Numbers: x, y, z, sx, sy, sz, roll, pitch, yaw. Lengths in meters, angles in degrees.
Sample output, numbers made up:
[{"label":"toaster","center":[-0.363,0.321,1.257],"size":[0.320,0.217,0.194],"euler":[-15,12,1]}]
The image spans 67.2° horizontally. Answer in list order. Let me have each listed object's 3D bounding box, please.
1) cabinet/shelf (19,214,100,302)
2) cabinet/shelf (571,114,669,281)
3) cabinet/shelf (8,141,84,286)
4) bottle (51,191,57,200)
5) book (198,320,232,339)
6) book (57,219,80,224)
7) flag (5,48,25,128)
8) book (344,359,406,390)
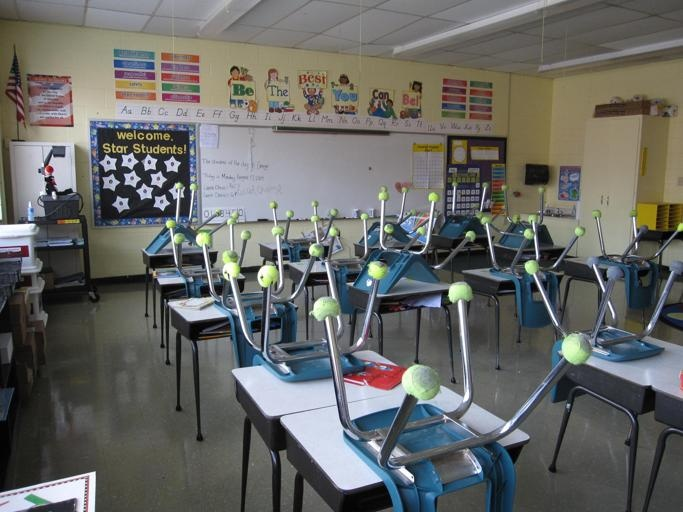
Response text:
[{"label":"cabinet/shelf","center":[-3.320,-0.009,6.069],"size":[0.787,0.913,0.616],"euler":[0,6,-24]},{"label":"cabinet/shelf","center":[4.559,-1.103,8.569],"size":[0.618,2.506,1.008],"euler":[-27,30,-28]},{"label":"cabinet/shelf","center":[-3.353,-0.452,5.963],"size":[0.695,1.642,0.519],"euler":[-7,13,-41]},{"label":"bottle","center":[-3.248,-0.683,5.810],"size":[0.055,0.084,0.105],"euler":[-6,13,-28]},{"label":"book","center":[-0.769,0.454,3.111],"size":[0.104,0.054,0.150],"euler":[-7,2,43]},{"label":"book","center":[-3.106,-0.396,5.844],"size":[0.141,0.070,0.223],"euler":[8,14,35]},{"label":"flag","center":[-3.821,-1.989,5.992],"size":[0.185,0.867,0.210],"euler":[-7,13,-31]},{"label":"book","center":[0.160,0.520,2.315],"size":[0.249,0.044,0.250],"euler":[4,12,20]}]
